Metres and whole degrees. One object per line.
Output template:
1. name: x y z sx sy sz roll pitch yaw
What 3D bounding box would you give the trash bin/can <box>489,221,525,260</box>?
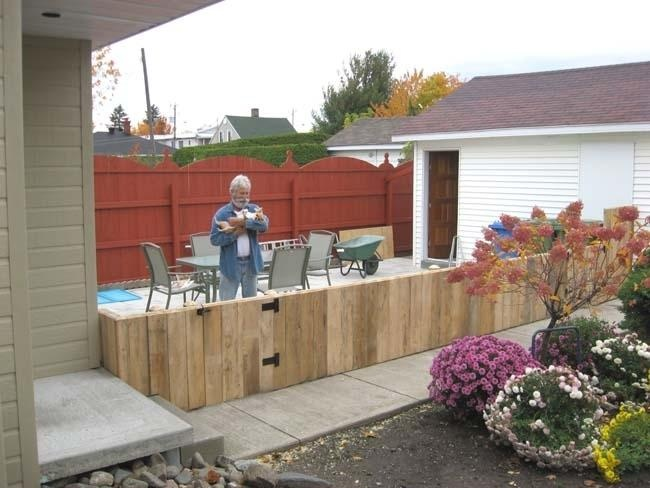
1. trash bin/can: 3.857 -0.114 13.106 0.535 0.764 0.594 -23 6 -26

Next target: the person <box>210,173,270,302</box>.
1. person: -1.159 0.207 8.390 0.657 2.237 0.566 -2 14 -11

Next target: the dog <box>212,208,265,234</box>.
1. dog: -1.097 -0.296 8.194 0.611 0.279 0.295 -6 10 -31

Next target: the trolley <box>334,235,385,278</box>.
1. trolley: 0.744 0.281 13.678 1.252 0.906 0.745 -6 9 -44
